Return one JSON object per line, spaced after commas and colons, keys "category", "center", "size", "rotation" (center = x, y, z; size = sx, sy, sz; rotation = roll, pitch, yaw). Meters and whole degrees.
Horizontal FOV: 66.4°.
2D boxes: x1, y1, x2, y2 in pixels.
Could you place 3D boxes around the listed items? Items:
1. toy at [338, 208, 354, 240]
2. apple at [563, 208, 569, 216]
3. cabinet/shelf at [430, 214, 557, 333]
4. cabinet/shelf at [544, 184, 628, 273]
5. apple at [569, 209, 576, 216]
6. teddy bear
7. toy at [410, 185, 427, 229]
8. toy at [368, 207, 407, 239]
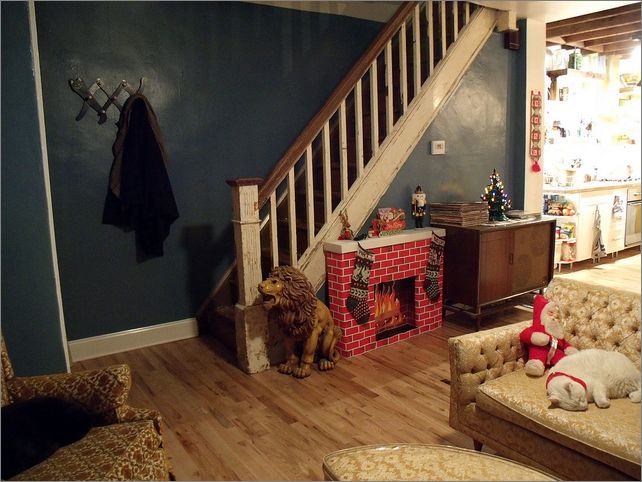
{"category": "toy", "center": [0.232, -0.145, 4.338], "size": [0.126, 0.249, 0.145], "rotation": [0, 11, 5]}
{"category": "apple", "center": [3.259, -0.381, 6.527], "size": [0.071, 0.086, 0.028], "rotation": [7, 13, 33]}
{"category": "cabinet/shelf", "center": [1.768, 0.213, 4.821], "size": [1.601, 1.441, 0.801], "rotation": [-8, 10, -36]}
{"category": "cabinet/shelf", "center": [3.694, -0.217, 6.812], "size": [1.434, 1.098, 0.446], "rotation": [-7, 13, -27]}
{"category": "apple", "center": [3.347, -0.373, 6.512], "size": [0.051, 0.073, 0.027], "rotation": [6, 2, 14]}
{"category": "teddy bear", "center": [1.426, 0.574, 3.043], "size": [0.296, 0.524, 0.240], "rotation": [4, -12, 12]}
{"category": "toy", "center": [0.951, -0.331, 4.770], "size": [0.125, 0.407, 0.155], "rotation": [0, 11, 5]}
{"category": "toy", "center": [0.608, -0.188, 4.546], "size": [0.467, 0.233, 0.221], "rotation": [-11, 15, -40]}
